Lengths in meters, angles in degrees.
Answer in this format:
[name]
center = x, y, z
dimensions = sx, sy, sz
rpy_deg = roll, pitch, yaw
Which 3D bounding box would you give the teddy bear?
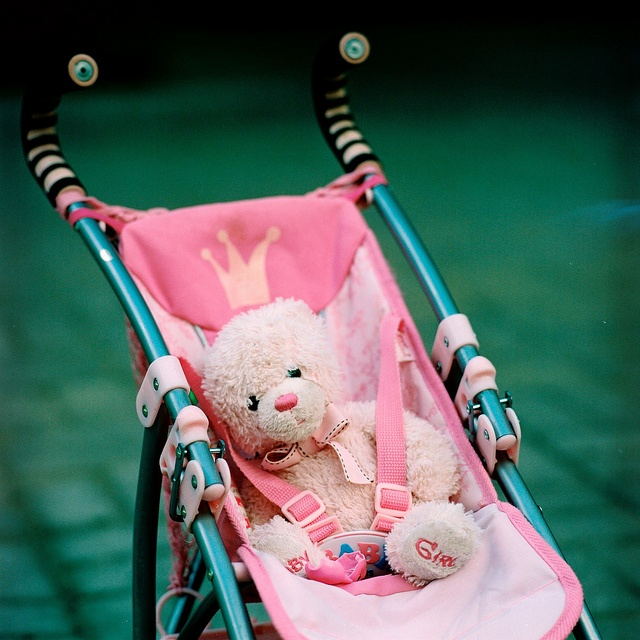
[teddy bear]
center = 0.022, 0.149, 1.031
dimensions = 0.333, 0.403, 0.280
rpy_deg = -11, -1, -10

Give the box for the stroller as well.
[stroller]
center = 0.111, -0.100, 1.498
dimensions = 0.847, 1.292, 0.655
rpy_deg = 1, 9, 28
